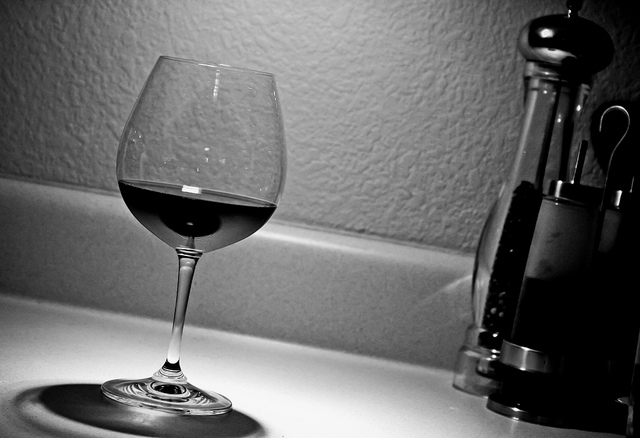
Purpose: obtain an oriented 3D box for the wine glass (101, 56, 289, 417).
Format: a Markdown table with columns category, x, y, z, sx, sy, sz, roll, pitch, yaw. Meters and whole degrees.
| category | x | y | z | sx | sy | sz | roll | pitch | yaw |
| --- | --- | --- | --- | --- | --- | --- | --- | --- | --- |
| wine glass | -0.128 | 0.016 | 0.606 | 0.153 | 0.321 | 0.121 | 10 | -4 | 16 |
